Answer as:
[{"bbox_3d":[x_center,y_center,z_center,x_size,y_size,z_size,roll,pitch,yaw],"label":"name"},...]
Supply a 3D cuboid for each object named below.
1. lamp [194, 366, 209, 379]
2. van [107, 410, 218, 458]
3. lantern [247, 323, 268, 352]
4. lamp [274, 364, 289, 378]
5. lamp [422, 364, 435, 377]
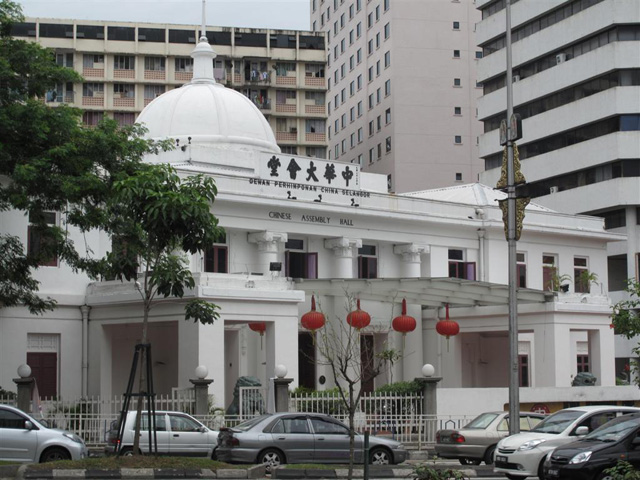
[{"bbox_3d":[-4.899,5.517,70.318,0.476,0.494,0.474,10,22,23],"label":"lamp"},{"bbox_3d":[-5.946,7.729,66.132,3.439,1.606,2.061,-1,-2,-12],"label":"van"},{"bbox_3d":[-2.966,4.491,76.854,1.180,1.772,1.237,-1,-4,0],"label":"lantern"},{"bbox_3d":[-1.583,5.521,70.823,0.544,0.579,0.547,3,35,-4],"label":"lamp"},{"bbox_3d":[4.658,5.585,72.216,0.396,0.562,0.804,-2,-10,17],"label":"lamp"}]
